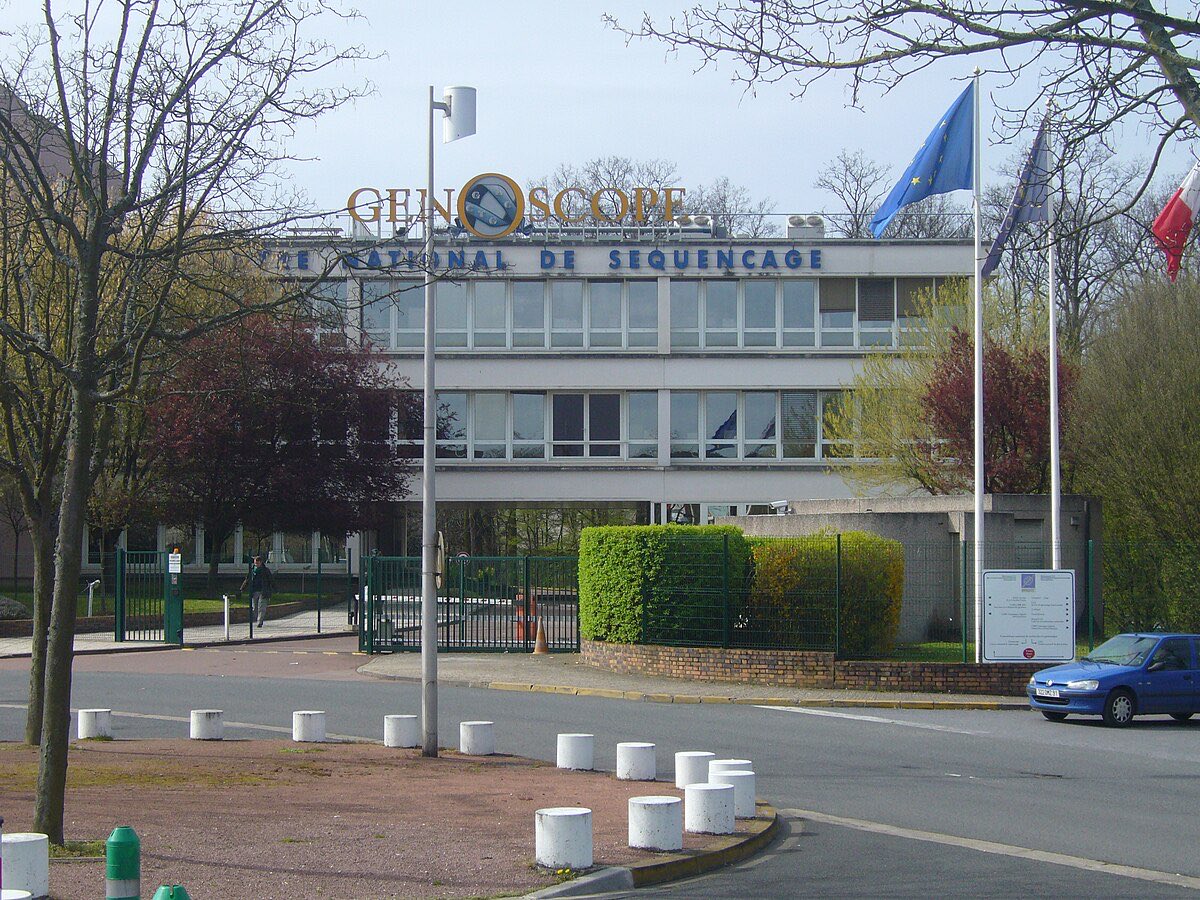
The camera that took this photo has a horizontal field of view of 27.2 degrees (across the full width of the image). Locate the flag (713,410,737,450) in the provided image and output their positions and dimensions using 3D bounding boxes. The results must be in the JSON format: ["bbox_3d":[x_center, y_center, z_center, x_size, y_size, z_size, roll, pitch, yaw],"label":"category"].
[{"bbox_3d":[3.863,-0.466,75.536,0.418,1.588,0.571,18,9,20],"label":"flag"}]

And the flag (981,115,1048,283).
[{"bbox_3d":[8.252,-5.105,47.866,1.271,3.796,0.283,-7,-36,37],"label":"flag"}]

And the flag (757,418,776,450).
[{"bbox_3d":[4.974,-0.315,75.555,0.809,0.882,0.205,-2,-12,7],"label":"flag"}]
